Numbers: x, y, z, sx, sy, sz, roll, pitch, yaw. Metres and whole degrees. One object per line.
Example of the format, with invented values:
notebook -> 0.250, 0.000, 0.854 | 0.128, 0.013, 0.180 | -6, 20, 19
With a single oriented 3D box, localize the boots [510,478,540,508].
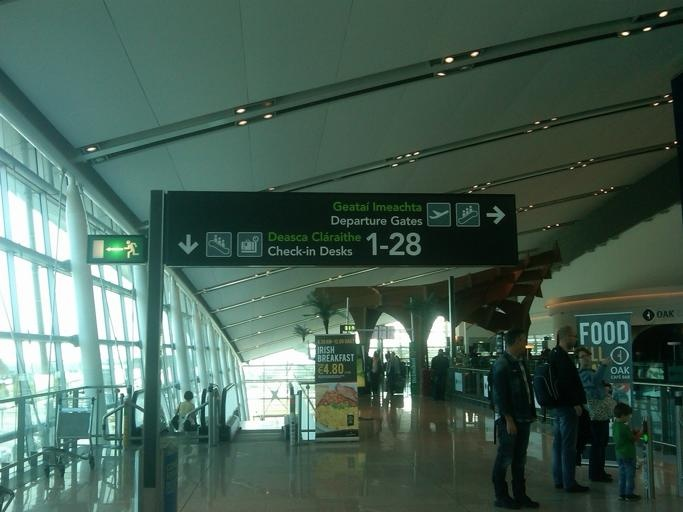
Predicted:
boots -> 2.796, 3.724, 10.627 | 0.496, 0.513, 0.263 | -1, -11, 6

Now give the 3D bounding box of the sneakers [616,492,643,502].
sneakers -> 4.495, 3.791, 10.709 | 0.315, 0.143, 0.120 | -3, -14, 1

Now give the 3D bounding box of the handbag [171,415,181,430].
handbag -> -3.975, 4.025, 16.499 | 0.306, 0.313, 0.405 | 1, -14, -4

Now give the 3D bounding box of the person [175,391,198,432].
person -> -3.621, 3.734, 16.428 | 0.744, 0.952, 0.682 | 7, -7, -31

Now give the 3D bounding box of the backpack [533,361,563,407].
backpack -> 3.344, 2.091, 11.096 | 0.370, 0.734, 0.523 | 9, -19, -5

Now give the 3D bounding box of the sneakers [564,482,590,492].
sneakers -> 3.799, 3.781, 11.167 | 0.427, 0.184, 0.151 | -2, -6, -1

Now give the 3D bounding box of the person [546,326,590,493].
person -> 3.667, 2.505, 11.171 | 0.592, 1.984, 0.422 | -5, -3, 16

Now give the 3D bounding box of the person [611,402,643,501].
person -> 4.469, 3.071, 10.725 | 0.388, 1.212, 0.450 | -5, -3, 19

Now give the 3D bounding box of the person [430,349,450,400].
person -> 3.407, 4.140, 23.900 | 0.560, 1.808, 1.490 | -4, -3, 6

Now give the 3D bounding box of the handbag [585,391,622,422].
handbag -> 4.349, 2.556, 11.493 | 0.525, 0.544, 0.227 | -5, -14, -1
